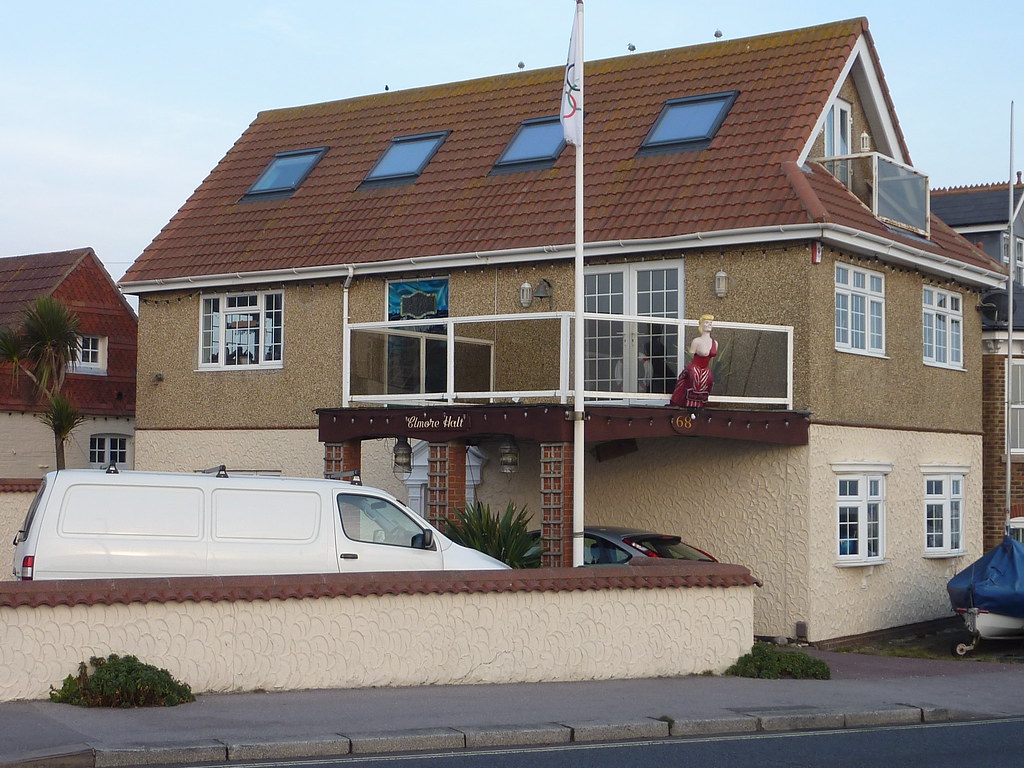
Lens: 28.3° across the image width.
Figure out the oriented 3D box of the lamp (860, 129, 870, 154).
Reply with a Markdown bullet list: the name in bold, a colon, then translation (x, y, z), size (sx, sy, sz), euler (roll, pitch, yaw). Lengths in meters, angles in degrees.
- **lamp**: translation (6.593, -4.473, 37.996), size (0.114, 0.486, 0.854), euler (0, -7, 17)

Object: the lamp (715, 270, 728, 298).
- **lamp**: translation (3.533, -1.668, 34.317), size (0.213, 0.440, 0.214), euler (4, -6, -16)

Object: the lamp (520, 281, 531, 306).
- **lamp**: translation (0.204, -1.559, 35.690), size (0.260, 0.430, 0.227), euler (1, -6, 14)

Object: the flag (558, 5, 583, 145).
- **flag**: translation (0.933, -4.741, 31.571), size (0.314, 1.981, 0.868), euler (2, -6, 1)

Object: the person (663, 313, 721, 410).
- **person**: translation (2.957, -0.288, 32.913), size (0.676, 1.505, 0.774), euler (-1, -7, 25)
